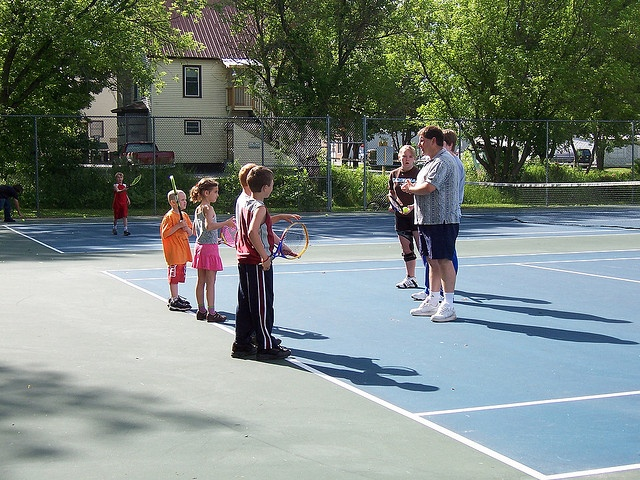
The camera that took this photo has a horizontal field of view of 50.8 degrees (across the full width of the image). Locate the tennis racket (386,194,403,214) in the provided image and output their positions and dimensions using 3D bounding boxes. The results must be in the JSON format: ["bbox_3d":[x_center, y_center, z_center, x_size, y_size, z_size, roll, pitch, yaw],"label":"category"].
[{"bbox_3d":[1.190,-0.571,10.936,0.125,0.103,0.491,-35,29,13],"label":"tennis racket"}]

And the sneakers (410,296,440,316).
[{"bbox_3d":[1.336,0.912,9.041,0.486,0.232,0.176,-1,0,-2],"label":"sneakers"}]

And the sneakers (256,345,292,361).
[{"bbox_3d":[-0.494,1.198,7.189,0.376,0.188,0.142,-1,1,-9],"label":"sneakers"}]

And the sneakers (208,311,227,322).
[{"bbox_3d":[-1.326,0.991,8.661,0.250,0.109,0.096,2,3,-11],"label":"sneakers"}]

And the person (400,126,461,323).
[{"bbox_3d":[1.527,-0.234,8.942,0.676,2.530,0.717,5,9,35],"label":"person"}]

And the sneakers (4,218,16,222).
[{"bbox_3d":[-9.994,-0.649,21.763,0.345,0.152,0.127,-1,2,26],"label":"sneakers"}]

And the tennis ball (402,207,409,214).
[{"bbox_3d":[1.303,-0.447,10.279,0.088,0.091,0.032,1,7,44],"label":"tennis ball"}]

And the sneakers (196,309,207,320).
[{"bbox_3d":[-1.520,0.962,8.692,0.142,0.137,0.120,2,6,0],"label":"sneakers"}]

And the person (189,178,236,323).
[{"bbox_3d":[-1.400,0.137,8.633,0.463,1.821,1.287,-1,7,-11],"label":"person"}]

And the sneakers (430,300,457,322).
[{"bbox_3d":[1.605,0.949,8.792,0.164,0.190,0.409,-2,-5,33],"label":"sneakers"}]

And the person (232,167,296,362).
[{"bbox_3d":[-0.658,0.409,7.084,0.587,1.684,0.415,6,9,37],"label":"person"}]

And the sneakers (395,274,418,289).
[{"bbox_3d":[1.364,0.698,11.002,0.426,0.212,0.149,5,-7,-34],"label":"sneakers"}]

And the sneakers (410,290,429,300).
[{"bbox_3d":[1.450,0.829,9.983,0.265,0.117,0.098,1,1,-10],"label":"sneakers"}]
